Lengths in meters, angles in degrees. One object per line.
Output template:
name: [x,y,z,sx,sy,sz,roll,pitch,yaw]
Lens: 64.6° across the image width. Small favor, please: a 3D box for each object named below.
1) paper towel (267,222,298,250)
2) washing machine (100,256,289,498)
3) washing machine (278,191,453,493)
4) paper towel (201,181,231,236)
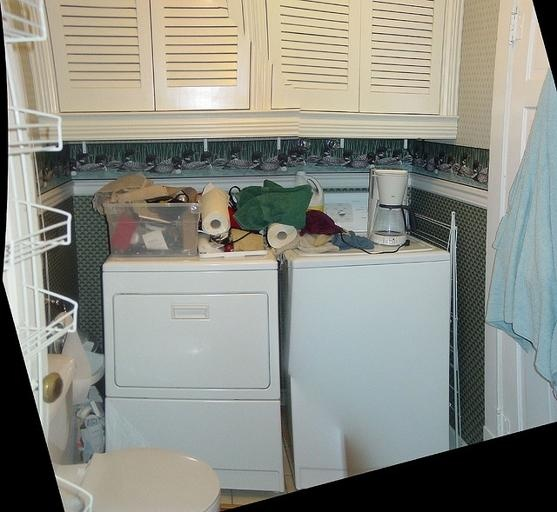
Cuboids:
paper towel: [0.015,-0.078,1.825,0.123,0.136,0.069,1,17,6]
washing machine: [-0.362,0.407,2.048,0.744,1.042,0.628,4,20,3]
washing machine: [0.415,0.394,2.343,0.911,1.434,0.964,-2,12,-3]
paper towel: [-0.268,-0.187,1.845,0.117,0.175,0.301,-4,18,-8]
